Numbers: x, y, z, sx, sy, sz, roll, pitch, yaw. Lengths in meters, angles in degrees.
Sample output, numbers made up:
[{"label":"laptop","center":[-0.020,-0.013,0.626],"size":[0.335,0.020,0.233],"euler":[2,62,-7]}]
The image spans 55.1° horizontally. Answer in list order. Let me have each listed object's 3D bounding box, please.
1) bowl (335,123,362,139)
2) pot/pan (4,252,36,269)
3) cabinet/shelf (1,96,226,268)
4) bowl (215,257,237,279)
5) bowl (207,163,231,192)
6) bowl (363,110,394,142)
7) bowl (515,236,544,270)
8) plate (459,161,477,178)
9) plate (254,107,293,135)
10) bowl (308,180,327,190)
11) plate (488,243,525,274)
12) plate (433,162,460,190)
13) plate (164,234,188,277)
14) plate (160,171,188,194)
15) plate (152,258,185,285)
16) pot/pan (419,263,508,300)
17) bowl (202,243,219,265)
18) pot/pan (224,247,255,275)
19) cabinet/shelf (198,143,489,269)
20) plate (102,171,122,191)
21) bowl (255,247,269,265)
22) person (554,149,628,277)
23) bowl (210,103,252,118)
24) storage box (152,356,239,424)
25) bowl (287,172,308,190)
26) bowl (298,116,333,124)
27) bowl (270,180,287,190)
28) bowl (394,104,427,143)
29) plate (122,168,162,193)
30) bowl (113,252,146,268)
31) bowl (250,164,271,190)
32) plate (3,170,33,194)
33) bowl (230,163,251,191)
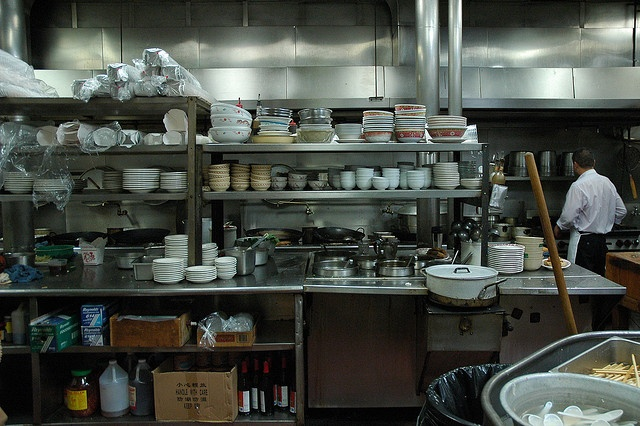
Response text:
[{"label":"bowl","center":[0.268,-0.733,5.622],"size":[0.176,0.098,0.158],"euler":[-1,2,-27]},{"label":"pot/pan","center":[-2.822,0.448,5.754],"size":[0.200,0.073,0.154],"euler":[1,1,9]},{"label":"cabinet/shelf","center":[-1.979,-0.475,6.521],"size":[1.694,2.105,2.253],"euler":[0,1,-1]},{"label":"bowl","center":[-0.840,0.483,5.499],"size":[0.189,0.134,0.184],"euler":[-1,2,0]},{"label":"bowl","center":[-0.907,-0.332,5.687],"size":[0.229,0.257,0.232],"euler":[2,3,0]},{"label":"bowl","center":[0.533,-0.798,5.683],"size":[0.281,0.233,0.278],"euler":[1,3,0]},{"label":"bowl","center":[1.990,0.370,5.741],"size":[0.283,0.308,0.282],"euler":[0,-3,0]},{"label":"plate","center":[1.367,-0.409,5.636],"size":[0.142,0.143,0.152],"euler":[0,2,1]},{"label":"plate","center":[-0.435,-0.849,5.727],"size":[0.362,0.282,0.348],"euler":[-3,3,-5]},{"label":"bowl","center":[-0.017,-0.258,5.636],"size":[0.108,0.051,0.108],"euler":[0,-3,0]},{"label":"plate","center":[1.714,0.419,5.720],"size":[0.281,0.183,0.277],"euler":[-1,0,-6]},{"label":"plate","center":[1.158,-0.334,5.611],"size":[0.239,0.229,0.246],"euler":[-1,1,40]},{"label":"plate","center":[-1.310,0.358,5.592],"size":[0.264,0.253,0.259],"euler":[-1,2,-26]},{"label":"plate","center":[-1.326,-0.276,5.558],"size":[0.205,0.139,0.202],"euler":[0,-1,4]},{"label":"plate","center":[-1.335,0.496,5.396],"size":[0.238,0.152,0.236],"euler":[0,-1,0]},{"label":"pot/pan","center":[1.271,0.609,5.277],"size":[0.592,0.236,0.779],"euler":[-1,6,-34]},{"label":"bowl","center":[-1.016,0.384,5.649],"size":[0.173,0.160,0.173],"euler":[0,-1,0]},{"label":"pot/pan","center":[-0.775,0.454,5.661],"size":[0.332,0.237,0.336],"euler":[-3,6,-1]},{"label":"cabinet/shelf","center":[0.207,-0.146,5.922],"size":[2.649,1.077,0.900],"euler":[0,7,1]},{"label":"plate","center":[-1.909,-0.294,5.632],"size":[0.175,0.144,0.173],"euler":[1,1,-1]},{"label":"bowl","center":[-0.555,0.409,5.828],"size":[0.155,0.129,0.149],"euler":[0,0,0]},{"label":"person","center":[3.064,0.003,6.895],"size":[0.750,1.449,0.403],"euler":[-3,3,-13]},{"label":"bowl","center":[-0.822,-0.933,5.587],"size":[0.192,0.079,0.190],"euler":[8,2,0]},{"label":"storage box","center":[-1.086,1.561,5.445],"size":[0.534,0.325,0.516],"euler":[0,1,-4]},{"label":"bowl","center":[-0.205,-0.292,5.642],"size":[0.162,0.114,0.158],"euler":[0,1,0]},{"label":"bowl","center":[-0.040,-0.848,5.576],"size":[0.216,0.042,0.214],"euler":[0,0,0]},{"label":"bowl","center":[-0.371,-0.252,5.654],"size":[0.097,0.053,0.098],"euler":[-2,1,0]},{"label":"bowl","center":[0.830,-0.816,5.734],"size":[0.321,0.347,0.343],"euler":[-1,2,0]},{"label":"plate","center":[-1.618,-0.299,5.651],"size":[0.253,0.147,0.251],"euler":[0,-1,4]},{"label":"bowl","center":[-1.837,0.430,5.817],"size":[0.199,0.075,0.163],"euler":[3,3,-14]},{"label":"bowl","center":[-0.538,-0.327,5.598],"size":[0.210,0.171,0.219],"euler":[1,0,0]},{"label":"plate","center":[-2.759,-0.280,5.607],"size":[0.214,0.155,0.212],"euler":[1,1,1]},{"label":"bowl","center":[-0.726,-0.336,5.716],"size":[0.222,0.251,0.224],"euler":[1,-1,0]}]
